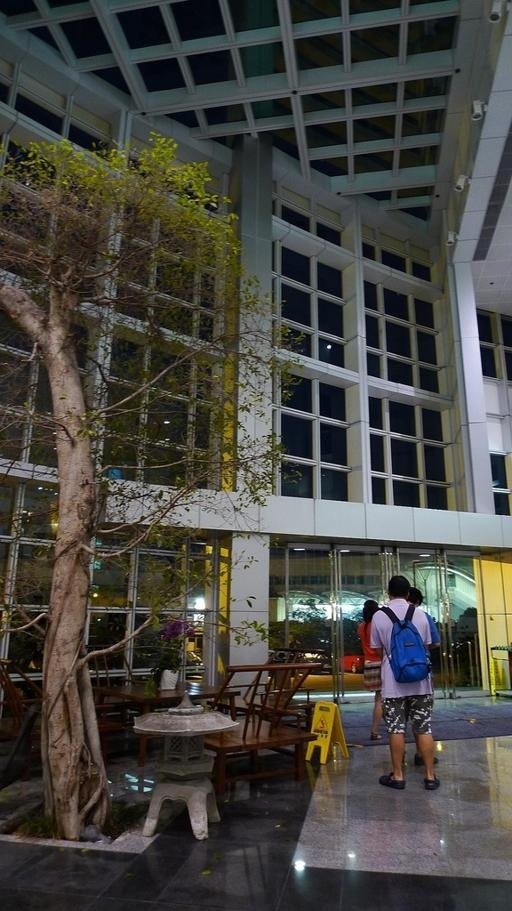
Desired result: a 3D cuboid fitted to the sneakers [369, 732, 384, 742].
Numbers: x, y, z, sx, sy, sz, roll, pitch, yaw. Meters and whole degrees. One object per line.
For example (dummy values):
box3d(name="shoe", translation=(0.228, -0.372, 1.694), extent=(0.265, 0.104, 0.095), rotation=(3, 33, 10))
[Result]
box3d(name="sneakers", translation=(1.392, 3.251, 6.628), extent=(0.085, 0.092, 0.239), rotation=(-3, -12, 19))

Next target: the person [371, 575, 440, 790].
box3d(name="person", translation=(1.229, 1.766, 4.684), extent=(0.501, 1.717, 0.498), rotation=(-2, 8, 16))

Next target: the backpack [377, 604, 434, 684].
box3d(name="backpack", translation=(1.193, 1.497, 4.552), extent=(0.292, 0.607, 0.337), rotation=(-6, -13, 6))

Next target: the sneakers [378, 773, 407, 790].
box3d(name="sneakers", translation=(1.059, 2.532, 4.455), extent=(0.115, 0.089, 0.274), rotation=(6, -13, -28))

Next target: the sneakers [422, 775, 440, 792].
box3d(name="sneakers", translation=(1.354, 2.514, 4.386), extent=(0.116, 0.072, 0.171), rotation=(-3, -12, 14))
